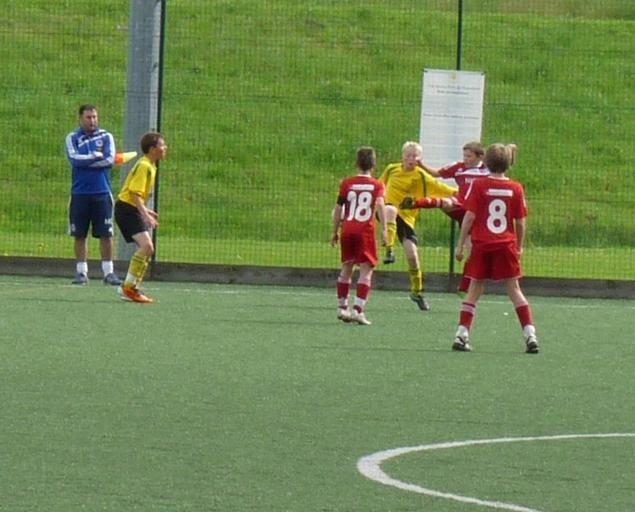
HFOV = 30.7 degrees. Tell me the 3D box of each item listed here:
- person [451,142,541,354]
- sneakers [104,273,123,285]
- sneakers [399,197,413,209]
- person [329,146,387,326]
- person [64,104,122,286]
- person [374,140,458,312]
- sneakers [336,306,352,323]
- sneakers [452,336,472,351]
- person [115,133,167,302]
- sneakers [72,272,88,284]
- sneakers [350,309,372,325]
[{"bbox_3d":[1.357,-0.072,8.560,0.656,1.543,0.700,2,6,9],"label":"person"},{"bbox_3d":[-2.238,0.240,12.323,0.104,0.128,0.289,-3,9,-21],"label":"sneakers"},{"bbox_3d":[0.871,-0.533,11.254,0.129,0.114,0.205,2,6,3],"label":"sneakers"},{"bbox_3d":[0.358,-0.198,10.107,0.475,1.546,0.990,2,6,2],"label":"person"},{"bbox_3d":[-2.428,-0.656,12.333,0.606,1.957,0.470,2,6,4],"label":"person"},{"bbox_3d":[0.900,-0.423,11.508,1.067,1.707,0.863,0,-18,25],"label":"person"},{"bbox_3d":[0.216,0.488,9.761,0.065,0.098,0.191,4,3,15],"label":"sneakers"},{"bbox_3d":[1.058,0.625,8.409,0.147,0.116,0.231,2,6,6],"label":"sneakers"},{"bbox_3d":[-1.799,-0.414,11.396,0.491,1.655,1.571,0,6,-8],"label":"person"},{"bbox_3d":[-2.673,0.229,12.604,0.170,0.176,0.112,0,2,9],"label":"sneakers"},{"bbox_3d":[0.362,0.525,9.794,0.104,0.089,0.236,-13,-18,26],"label":"sneakers"}]
